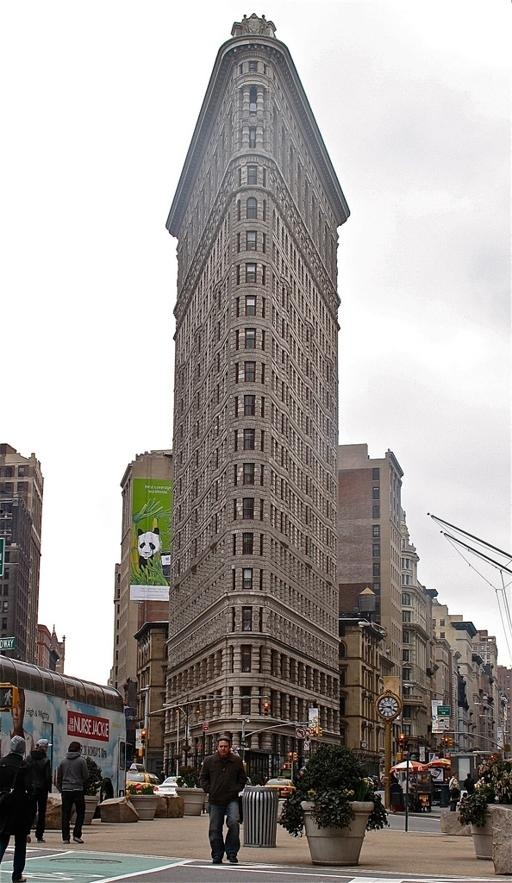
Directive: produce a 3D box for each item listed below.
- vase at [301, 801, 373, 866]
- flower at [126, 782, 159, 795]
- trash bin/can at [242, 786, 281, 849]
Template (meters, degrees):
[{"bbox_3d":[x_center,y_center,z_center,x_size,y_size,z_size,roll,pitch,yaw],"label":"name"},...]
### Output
[{"bbox_3d":[1.155,5.606,19.273,0.863,0.737,0.886,-23,-40,37],"label":"vase"},{"bbox_3d":[-3.183,9.678,38.039,0.514,0.356,0.493,2,-21,1],"label":"flower"},{"bbox_3d":[0.061,6.651,24.214,0.609,1.010,0.619,8,-15,-33],"label":"trash bin/can"}]
